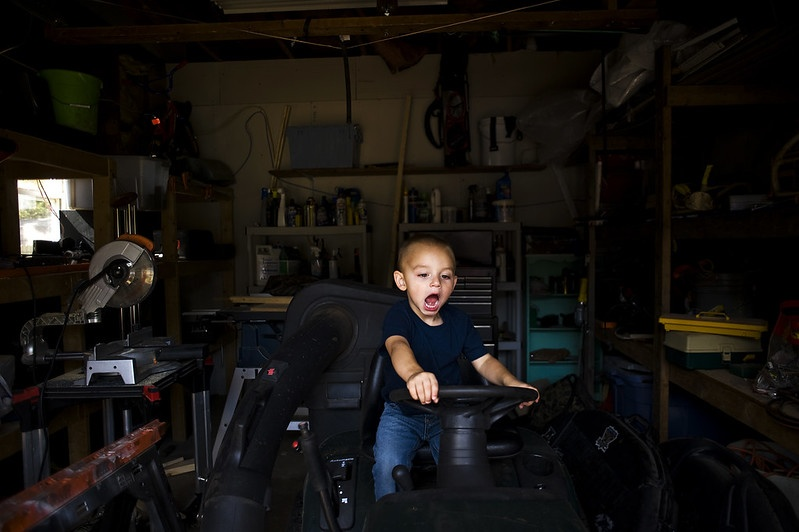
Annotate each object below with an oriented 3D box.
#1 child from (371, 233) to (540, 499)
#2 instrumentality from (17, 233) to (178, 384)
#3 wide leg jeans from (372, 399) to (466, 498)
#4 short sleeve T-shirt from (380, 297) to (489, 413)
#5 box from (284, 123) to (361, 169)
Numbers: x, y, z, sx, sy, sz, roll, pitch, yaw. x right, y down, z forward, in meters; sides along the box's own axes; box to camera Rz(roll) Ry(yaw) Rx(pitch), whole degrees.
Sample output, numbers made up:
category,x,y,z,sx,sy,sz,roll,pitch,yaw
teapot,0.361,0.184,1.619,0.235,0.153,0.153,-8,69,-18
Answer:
category,x,y,z,sx,sy,sz,roll,pitch,yaw
child,0.279,0.646,3.246,0.885,1.540,0.876,2,4,16
instrumentality,-1.902,0.258,3.860,0.767,0.902,0.386,0,1,-15
wide leg jeans,0.104,0.917,3.091,0.451,0.279,0.860,8,14,0
short sleeve T-shirt,0.169,0.483,3.273,0.580,0.559,0.303,2,-7,-11
box,-0.697,-1.092,5.738,0.484,0.298,0.479,0,4,5
